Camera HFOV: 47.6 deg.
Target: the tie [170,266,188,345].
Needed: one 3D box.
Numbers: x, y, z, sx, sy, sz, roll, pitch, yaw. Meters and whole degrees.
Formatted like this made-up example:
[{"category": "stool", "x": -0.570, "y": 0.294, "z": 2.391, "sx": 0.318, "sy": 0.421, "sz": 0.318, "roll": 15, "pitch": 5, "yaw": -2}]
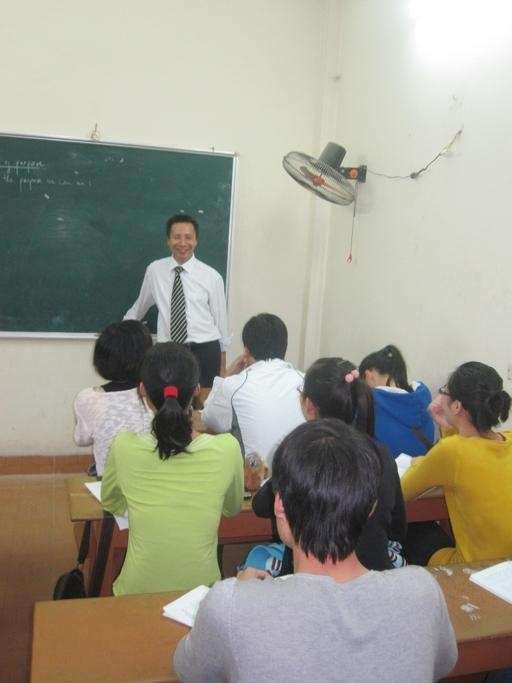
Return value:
[{"category": "tie", "x": -0.439, "y": -0.217, "z": 3.344, "sx": 0.098, "sy": 0.429, "sz": 0.110, "roll": -3, "pitch": 9, "yaw": -23}]
